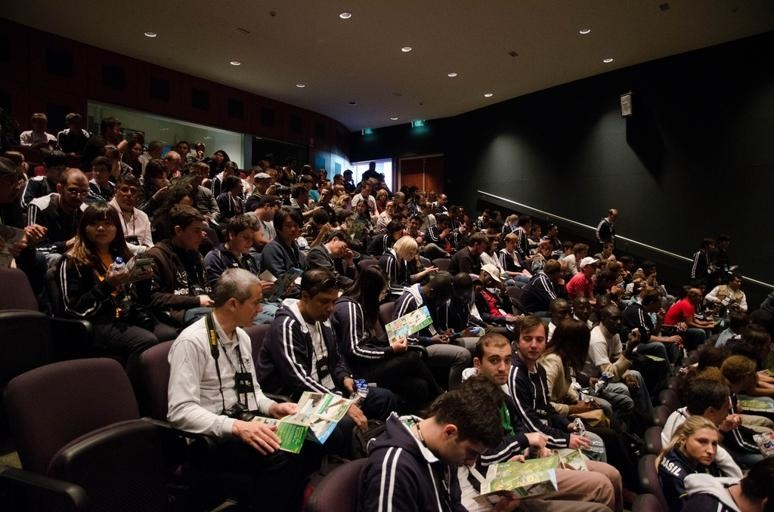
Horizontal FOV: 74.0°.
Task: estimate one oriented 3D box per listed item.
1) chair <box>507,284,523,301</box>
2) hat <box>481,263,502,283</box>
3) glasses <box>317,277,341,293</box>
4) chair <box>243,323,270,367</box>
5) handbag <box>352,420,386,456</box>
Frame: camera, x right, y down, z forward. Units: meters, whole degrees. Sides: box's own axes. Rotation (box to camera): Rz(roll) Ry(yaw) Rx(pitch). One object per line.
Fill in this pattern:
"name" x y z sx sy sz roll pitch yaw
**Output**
"chair" 1.828 0.523 7.341 0.186 0.243 0.188 -1 10 4
"hat" 1.375 0.216 6.623 0.279 0.143 0.207 34 0 -16
"glasses" -0.428 0.216 3.832 0.112 0.109 0.084 -37 -5 7
"chair" -1.021 0.669 4.021 0.244 0.349 0.271 -4 10 -13
"handbag" -0.130 1.281 3.663 0.261 0.110 0.212 -16 20 -36
